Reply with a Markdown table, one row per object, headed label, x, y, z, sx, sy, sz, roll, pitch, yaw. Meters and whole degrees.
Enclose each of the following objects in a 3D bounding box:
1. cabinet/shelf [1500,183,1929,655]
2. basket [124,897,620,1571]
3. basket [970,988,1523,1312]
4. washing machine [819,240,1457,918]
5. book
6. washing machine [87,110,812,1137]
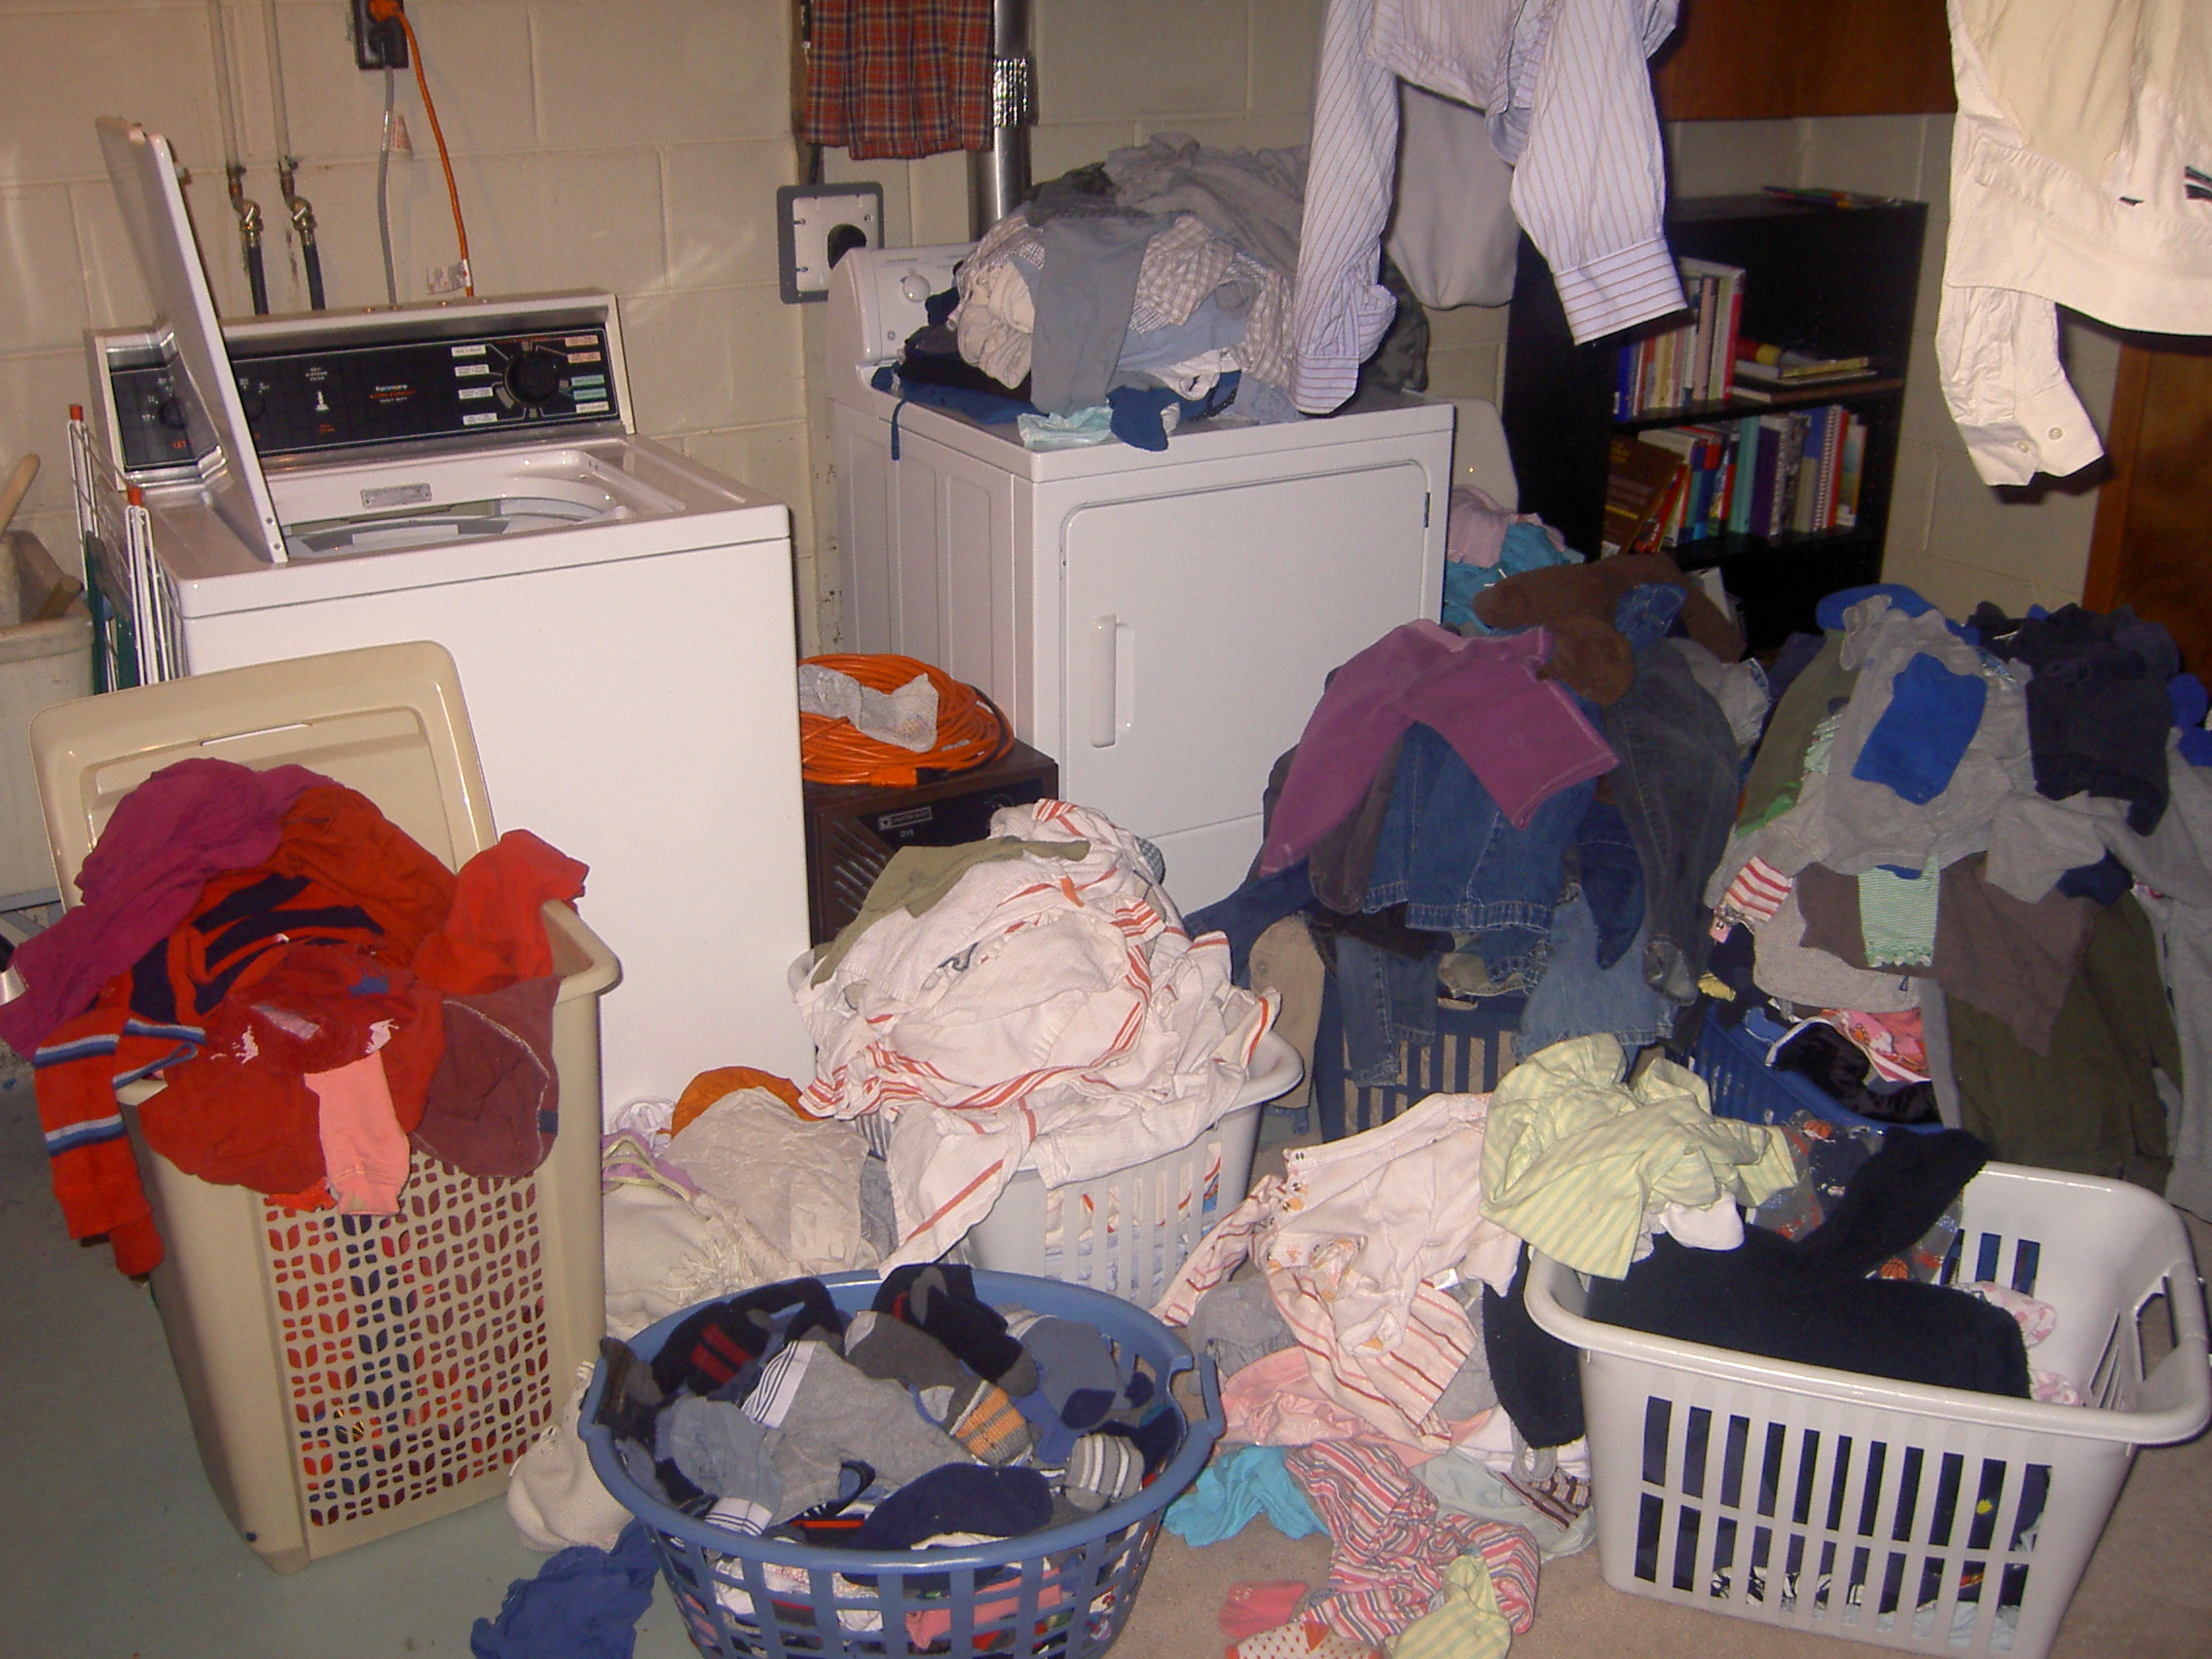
| label | x | y | z | sx | sy | sz | roll | pitch | yaw |
| --- | --- | --- | --- | --- | --- | --- | --- | --- | --- |
| cabinet/shelf | 1.232 | -0.866 | 3.683 | 0.703 | 1.442 | 0.382 | -21 | 29 | -33 |
| basket | -0.870 | 0.475 | 2.143 | 0.494 | 0.680 | 0.445 | -15 | 35 | -32 |
| basket | 0.167 | 0.480 | 2.674 | 0.595 | 0.324 | 0.439 | -14 | 21 | -19 |
| washing machine | -0.014 | -0.559 | 3.570 | 1.043 | 1.654 | 1.154 | -12 | 22 | -30 |
| book | 1.451 | -0.988 | 4.131 | 0.737 | 0.634 | 0.271 | -14 | 25 | -27 |
| washing machine | -0.955 | -0.287 | 2.537 | 0.866 | 1.695 | 0.906 | -11 | 30 | -25 |
